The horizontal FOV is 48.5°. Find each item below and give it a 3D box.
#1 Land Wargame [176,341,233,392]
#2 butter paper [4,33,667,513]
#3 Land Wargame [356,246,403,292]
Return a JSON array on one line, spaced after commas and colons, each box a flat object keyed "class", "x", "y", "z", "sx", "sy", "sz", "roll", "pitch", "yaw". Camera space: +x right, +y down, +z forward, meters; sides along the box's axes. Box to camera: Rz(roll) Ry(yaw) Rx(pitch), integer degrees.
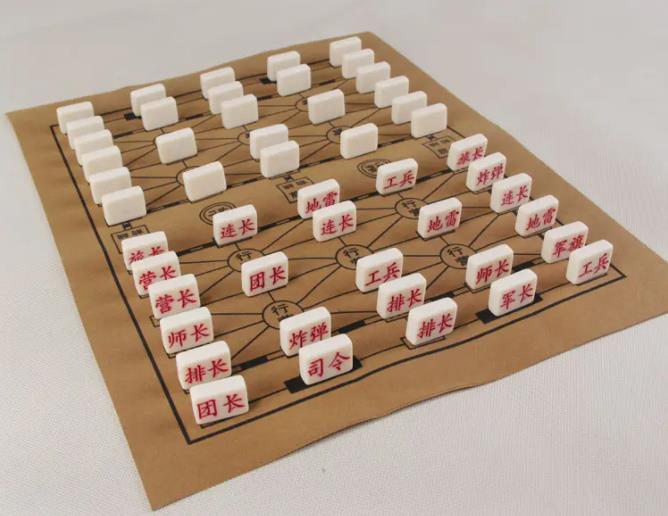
[{"class": "Land Wargame", "x": -0.515, "y": 0.435, "z": 2.947, "sx": 0.220, "sy": 0.133, "sz": 0.070, "roll": -13, "pitch": 26, "yaw": -26}, {"class": "butter paper", "x": -0.220, "y": -0.213, "z": 3.651, "sx": 2.339, "sy": 0.227, "sz": 2.372, "roll": -16, "pitch": 46, "yaw": -21}, {"class": "Land Wargame", "x": 0.203, "y": 0.055, "z": 3.308, "sx": 0.235, "sy": 0.145, "sz": 0.079, "roll": -20, "pitch": 45, "yaw": -31}]
